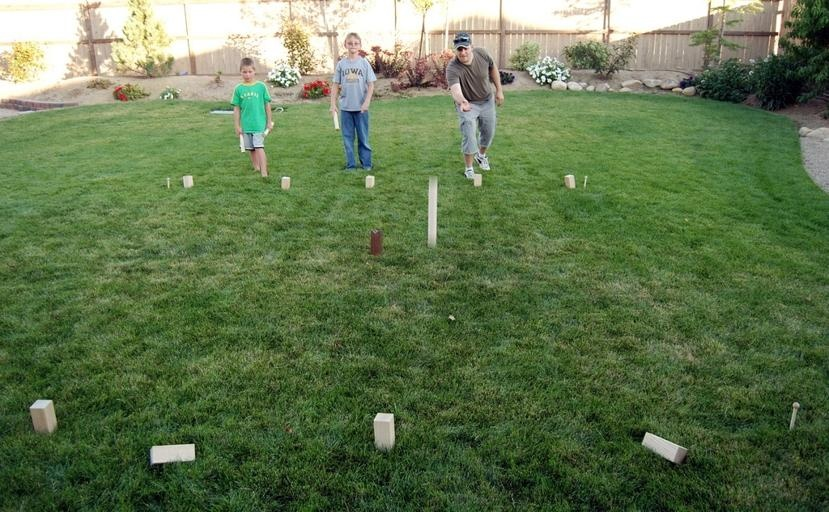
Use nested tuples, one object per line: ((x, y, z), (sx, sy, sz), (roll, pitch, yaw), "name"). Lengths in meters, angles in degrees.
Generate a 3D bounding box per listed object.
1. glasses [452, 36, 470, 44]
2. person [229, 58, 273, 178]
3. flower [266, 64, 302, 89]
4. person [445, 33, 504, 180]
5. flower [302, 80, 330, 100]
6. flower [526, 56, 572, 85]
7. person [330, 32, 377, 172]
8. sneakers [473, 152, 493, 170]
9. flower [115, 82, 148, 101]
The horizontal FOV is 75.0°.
((0.777, -3.491, 8.709), (0.335, 0.112, 0.169), (-9, 23, -20), "glasses")
((-2.858, -2.452, 9.560), (0.657, 1.984, 0.851), (-7, 23, -15), "person")
((-4.897, -6.813, 20.194), (1.101, 0.704, 1.082), (29, 53, 20), "flower")
((1.018, -2.527, 9.284), (0.793, 2.379, 1.398), (12, 25, 28), "person")
((-3.550, -5.912, 19.524), (0.947, 0.631, 0.952), (-6, 21, -11), "flower")
((5.035, -6.897, 20.243), (1.540, 0.932, 1.119), (3, 22, 9), "flower")
((-1.153, -2.862, 9.993), (0.784, 2.372, 1.172), (-4, 23, -8), "person")
((1.301, -1.761, 10.050), (0.177, 0.432, 0.190), (-32, -8, -19), "sneakers")
((-9.662, -5.564, 18.339), (1.092, 0.486, 0.963), (-10, 23, -24), "flower")
